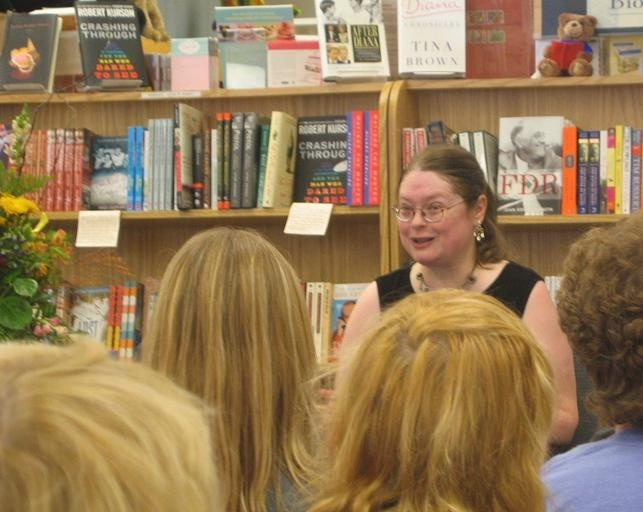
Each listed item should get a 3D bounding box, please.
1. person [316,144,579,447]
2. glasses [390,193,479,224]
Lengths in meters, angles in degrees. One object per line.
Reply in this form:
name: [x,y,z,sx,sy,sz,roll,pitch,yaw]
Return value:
person: [0.457,0.157,2.260,0.813,1.141,0.708,-2,-9,26]
glasses: [0.297,-0.122,2.010,0.193,0.067,0.074,0,1,14]
